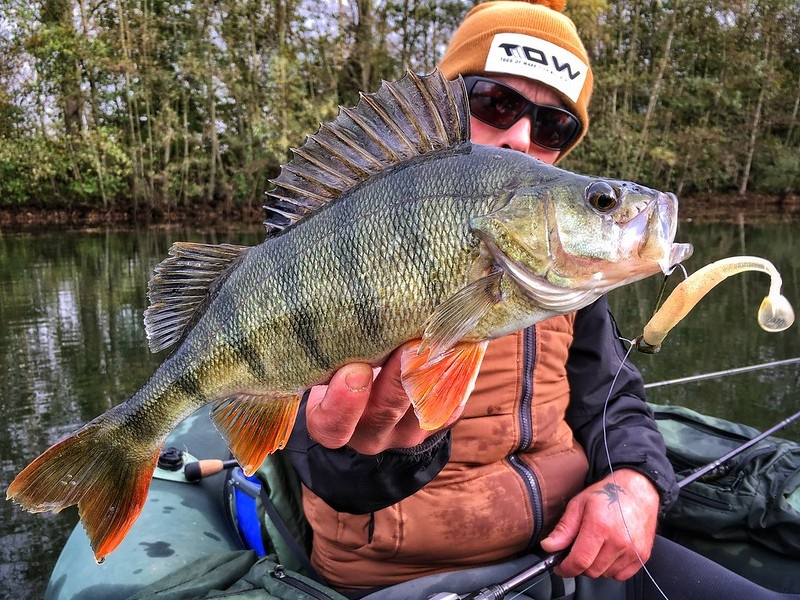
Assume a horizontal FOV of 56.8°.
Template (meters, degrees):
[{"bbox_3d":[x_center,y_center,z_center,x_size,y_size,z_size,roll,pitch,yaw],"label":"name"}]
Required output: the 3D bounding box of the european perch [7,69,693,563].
[{"bbox_3d":[-0.207,0.253,2.967,2.362,1.799,0.573,6,4,17],"label":"european perch"}]
